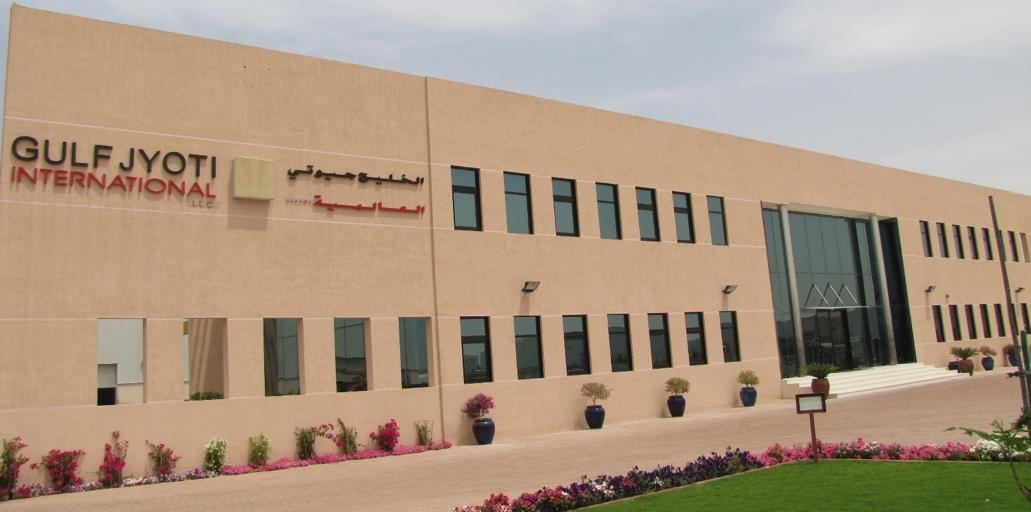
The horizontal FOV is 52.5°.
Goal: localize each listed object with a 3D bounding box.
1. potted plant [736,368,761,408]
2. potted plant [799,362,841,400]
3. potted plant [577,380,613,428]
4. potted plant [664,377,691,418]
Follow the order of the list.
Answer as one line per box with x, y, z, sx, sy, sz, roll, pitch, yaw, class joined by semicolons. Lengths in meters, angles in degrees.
12.134;6.920;54.633;0.934;1.728;1.199;0;10;23;potted plant
15.763;6.572;54.272;2.154;1.816;2.079;-6;-11;38;potted plant
3.760;7.296;50.715;2.600;2.481;1.650;0;-20;-1;potted plant
8.183;7.123;52.499;1.120;1.864;0.856;-9;10;-28;potted plant
